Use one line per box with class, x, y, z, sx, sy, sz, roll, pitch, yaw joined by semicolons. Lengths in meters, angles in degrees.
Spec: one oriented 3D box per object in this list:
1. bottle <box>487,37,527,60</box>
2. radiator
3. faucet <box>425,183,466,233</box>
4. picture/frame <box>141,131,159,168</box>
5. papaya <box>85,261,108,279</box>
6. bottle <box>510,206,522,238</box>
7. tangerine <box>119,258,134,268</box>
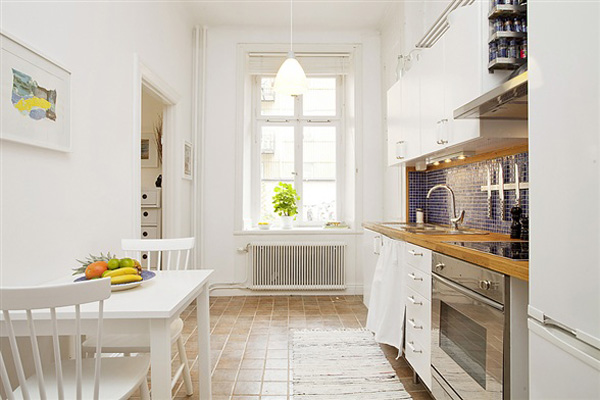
bottle;1.306;-0.947;2.743;0.222;0.140;0.079;2;10;21
radiator;-0.052;0.810;5.258;1.234;0.531;0.406;1;1;2
faucet;1.293;0.076;3.670;0.285;0.430;0.345;3;1;-11
picture/frame;-2.138;-0.727;6.228;0.220;0.502;0.142;-3;9;-8
papaya;-1.218;0.411;2.611;0.085;0.090;0.117;-12;-3;23
bottle;1.470;0.151;2.956;0.070;0.217;0.101;3;10;26
tangerine;-1.065;0.383;2.671;0.059;0.055;0.060;-4;-8;37
